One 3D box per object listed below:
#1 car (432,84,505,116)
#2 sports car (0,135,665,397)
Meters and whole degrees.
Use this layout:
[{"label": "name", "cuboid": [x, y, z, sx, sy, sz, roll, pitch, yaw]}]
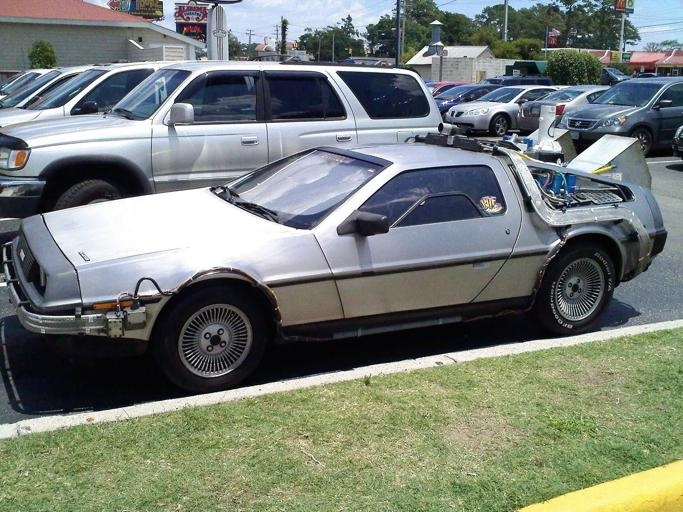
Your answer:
[{"label": "car", "cuboid": [6.504, -7.738, 24.239, 4.834, 1.640, 2.135, -11, 18, -20]}, {"label": "sports car", "cuboid": [0.184, -0.080, 4.520, 4.808, 1.420, 2.588, -5, 18, -19]}]
